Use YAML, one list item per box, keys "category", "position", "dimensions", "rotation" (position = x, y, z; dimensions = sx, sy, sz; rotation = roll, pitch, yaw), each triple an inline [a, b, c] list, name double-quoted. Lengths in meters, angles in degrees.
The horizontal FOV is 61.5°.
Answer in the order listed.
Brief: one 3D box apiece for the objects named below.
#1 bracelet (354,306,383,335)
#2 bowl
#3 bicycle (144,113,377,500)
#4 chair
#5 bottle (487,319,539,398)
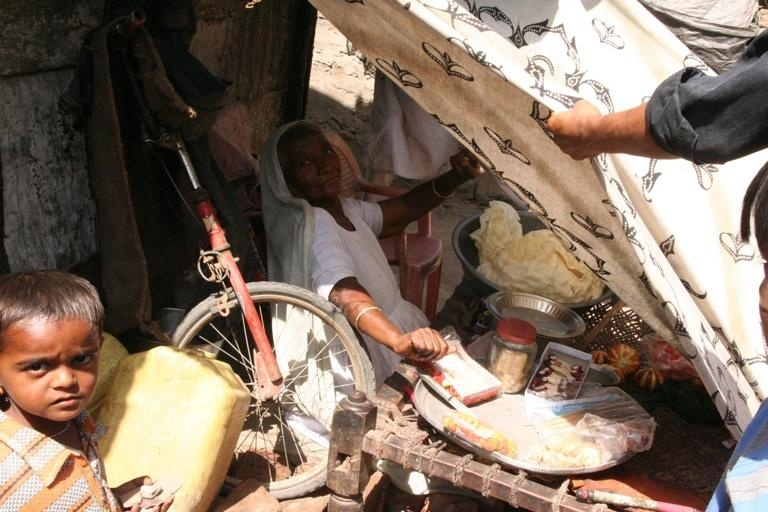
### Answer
- category: "bracelet"
  position: [-0.087, 0.334, 3.246]
  dimensions: [0.117, 0.116, 0.085]
  rotation: [-31, -28, 8]
- category: "bowl"
  position: [0.868, 0.141, 4.088]
  dimensions: [0.885, 0.892, 0.331]
  rotation: [27, -50, 27]
- category: "bicycle"
  position: [-0.583, 0.427, 3.565]
  dimensions: [1.073, 1.716, 1.273]
  rotation: [2, -16, -1]
- category: "chair"
  position: [-0.005, -0.202, 4.128]
  dimensions: [0.856, 0.702, 1.123]
  rotation: [17, -37, 13]
- category: "bottle"
  position: [0.586, 0.481, 2.945]
  dimensions: [0.214, 0.203, 0.296]
  rotation: [19, -57, 22]
